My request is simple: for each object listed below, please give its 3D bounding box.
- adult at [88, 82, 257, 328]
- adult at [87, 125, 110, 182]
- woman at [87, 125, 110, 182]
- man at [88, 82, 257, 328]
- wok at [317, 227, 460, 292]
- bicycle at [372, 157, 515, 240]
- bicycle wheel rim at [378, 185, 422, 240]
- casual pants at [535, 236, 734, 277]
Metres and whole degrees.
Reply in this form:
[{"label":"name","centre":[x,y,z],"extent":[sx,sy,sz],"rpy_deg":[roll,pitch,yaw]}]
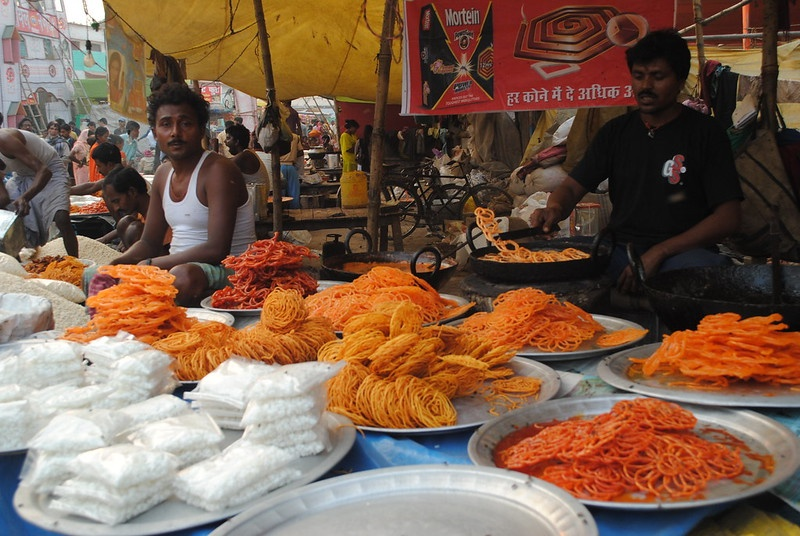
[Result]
[{"label":"adult","centre":[-1.464,-0.456,3.844],"extent":[1.158,1.339,1.158],"rpy_deg":[9,11,40]},{"label":"adult","centre":[-5.796,-2.138,11.470],"extent":[0.450,1.344,0.396],"rpy_deg":[-19,56,-40]},{"label":"woman","centre":[-5.710,-2.092,11.330],"extent":[0.458,1.257,0.349],"rpy_deg":[11,35,-14]},{"label":"man","centre":[-1.588,-0.451,3.850],"extent":[1.172,1.338,1.154],"rpy_deg":[5,8,14]},{"label":"wok","centre":[-0.117,-0.146,3.525],"extent":[0.557,0.188,0.580],"rpy_deg":[-4,8,-32]},{"label":"bicycle","centre":[0.720,-1.301,10.784],"extent":[2.694,1.326,1.217],"rpy_deg":[-2,9,5]},{"label":"bicycle wheel rim","centre":[0.122,-1.158,10.883],"extent":[0.950,1.149,0.265],"rpy_deg":[-3,-9,-7]},{"label":"casual pants","centre":[1.221,-0.068,2.982],"extent":[0.728,0.091,0.408],"rpy_deg":[0,6,-15]}]
